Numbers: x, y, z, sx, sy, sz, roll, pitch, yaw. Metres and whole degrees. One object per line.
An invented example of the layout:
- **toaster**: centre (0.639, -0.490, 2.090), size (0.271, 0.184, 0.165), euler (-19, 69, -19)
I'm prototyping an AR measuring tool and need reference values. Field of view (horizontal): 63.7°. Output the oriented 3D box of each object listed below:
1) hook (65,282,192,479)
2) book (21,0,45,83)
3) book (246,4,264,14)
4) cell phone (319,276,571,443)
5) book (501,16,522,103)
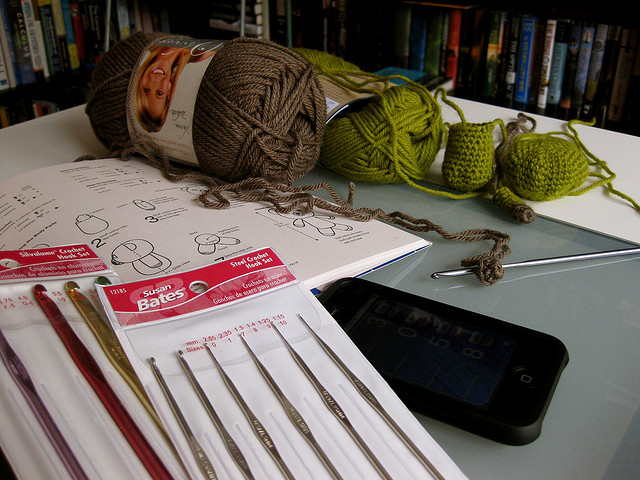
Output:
- **hook**: centre (-0.124, 0.095, 0.336), size (0.160, 0.009, 0.013), euler (43, 15, 36)
- **book**: centre (-0.820, -0.573, 1.487), size (0.029, 0.226, 0.057), euler (-13, 31, -25)
- **book**: centre (-0.207, -0.745, 1.650), size (0.051, 0.036, 0.028), euler (1, 0, -3)
- **cell phone**: centre (0.085, 0.088, 0.389), size (0.148, 0.020, 0.088), euler (19, 39, 24)
- **book**: centre (0.514, -0.496, 1.387), size (0.035, 0.144, 0.147), euler (10, 11, 10)
